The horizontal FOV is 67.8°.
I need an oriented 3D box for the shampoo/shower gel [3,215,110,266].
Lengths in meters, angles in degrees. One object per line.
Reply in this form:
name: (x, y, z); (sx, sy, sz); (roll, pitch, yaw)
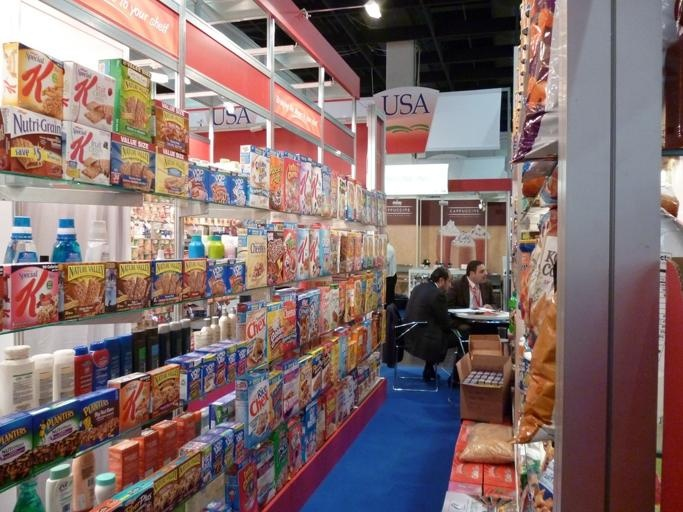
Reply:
shampoo/shower gel: (-1.126, -0.062, 1.991); (0.250, 0.176, 0.454); (2, 3, 4)

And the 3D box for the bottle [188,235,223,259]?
bottle: (-0.732, -0.054, 2.738); (0.184, 0.193, 0.101); (-3, 6, -29)

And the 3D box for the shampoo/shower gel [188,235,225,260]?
shampoo/shower gel: (-0.725, -0.047, 2.746); (0.185, 0.193, 0.101); (-3, 6, -29)

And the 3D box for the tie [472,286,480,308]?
tie: (2.052, 0.625, 7.755); (0.153, 0.262, 0.413); (2, 3, 18)

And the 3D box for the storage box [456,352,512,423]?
storage box: (1.407, 1.227, 4.915); (0.464, 0.535, 0.709); (-2, 1, 25)

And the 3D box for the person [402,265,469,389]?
person: (1.196, 0.910, 6.580); (0.760, 1.545, 0.690); (-5, 10, -25)
